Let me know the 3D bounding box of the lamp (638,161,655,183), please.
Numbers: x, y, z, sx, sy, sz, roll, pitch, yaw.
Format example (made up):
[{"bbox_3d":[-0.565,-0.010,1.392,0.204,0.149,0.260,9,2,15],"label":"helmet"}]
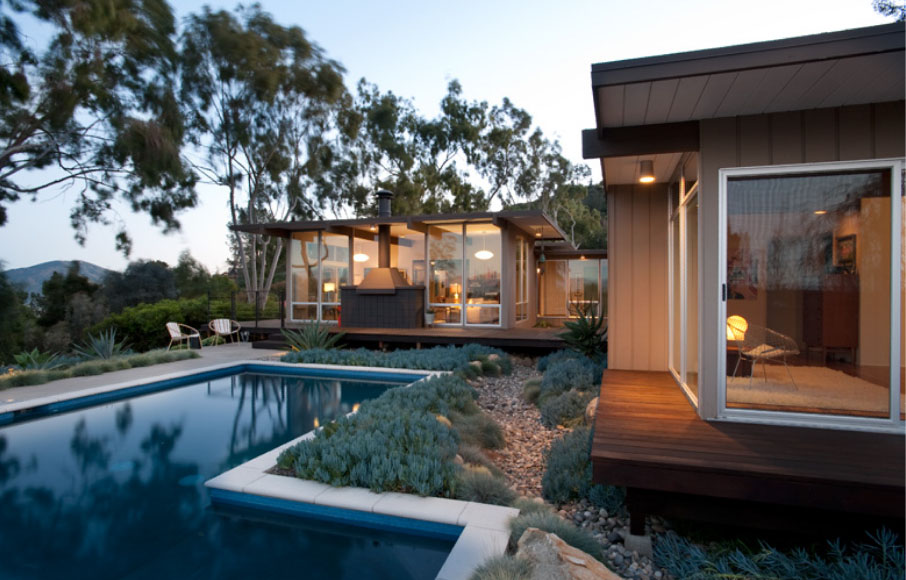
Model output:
[{"bbox_3d":[3.132,-1.877,9.476,0.286,0.355,0.305,-1,-3,6],"label":"lamp"}]

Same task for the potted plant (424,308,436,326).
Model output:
[{"bbox_3d":[-0.657,0.746,16.680,0.405,0.454,0.375,0,-4,-8],"label":"potted plant"}]

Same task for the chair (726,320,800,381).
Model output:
[{"bbox_3d":[4.365,0.848,8.431,0.866,0.967,0.766,-4,-5,17],"label":"chair"}]
